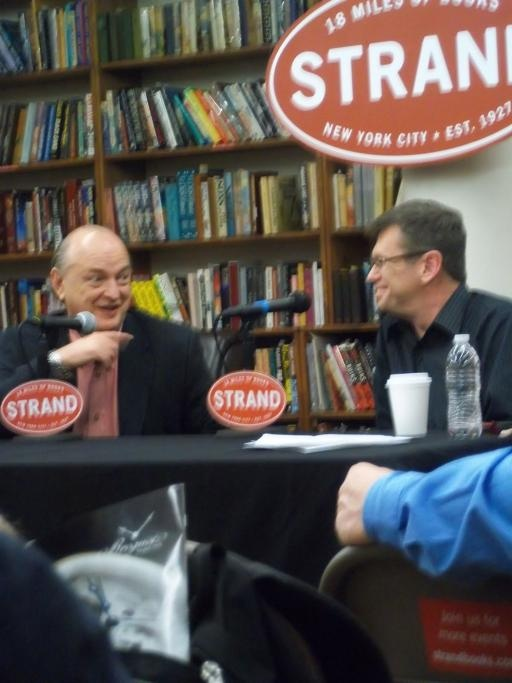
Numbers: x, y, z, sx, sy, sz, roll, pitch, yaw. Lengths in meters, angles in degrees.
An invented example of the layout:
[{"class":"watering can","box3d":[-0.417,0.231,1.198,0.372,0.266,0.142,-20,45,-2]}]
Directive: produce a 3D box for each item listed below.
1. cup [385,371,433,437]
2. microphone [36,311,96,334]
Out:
[{"class":"cup","box3d":[0.304,0.126,1.240,0.123,0.130,0.108,0,-17,1]},{"class":"microphone","box3d":[-0.476,-0.035,1.585,0.139,0.062,0.117,-8,11,-29]}]
